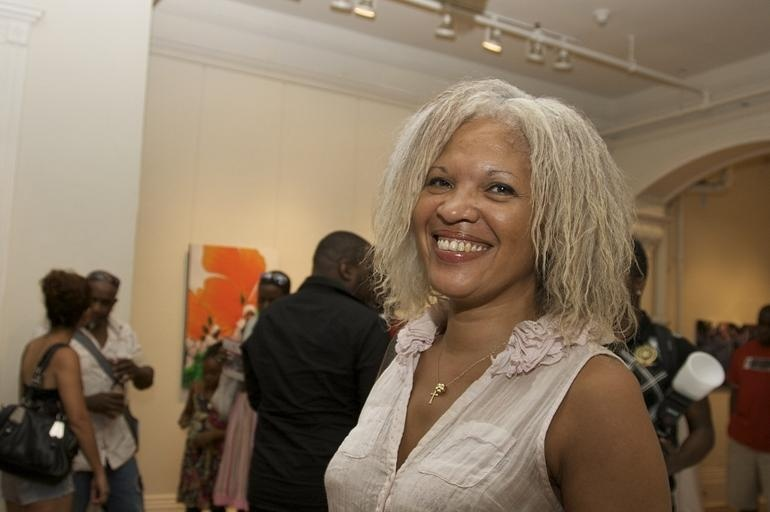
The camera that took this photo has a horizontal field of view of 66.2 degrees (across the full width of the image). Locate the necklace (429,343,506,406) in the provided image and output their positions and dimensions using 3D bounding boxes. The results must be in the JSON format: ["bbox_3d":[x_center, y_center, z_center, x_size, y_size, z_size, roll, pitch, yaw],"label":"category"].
[{"bbox_3d":[0.272,0.416,2.079,0.238,0.020,0.219,-39,21,-3],"label":"necklace"}]

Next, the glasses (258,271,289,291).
[{"bbox_3d":[-0.702,0.148,3.768,0.147,0.061,0.135,29,-11,-35],"label":"glasses"}]
